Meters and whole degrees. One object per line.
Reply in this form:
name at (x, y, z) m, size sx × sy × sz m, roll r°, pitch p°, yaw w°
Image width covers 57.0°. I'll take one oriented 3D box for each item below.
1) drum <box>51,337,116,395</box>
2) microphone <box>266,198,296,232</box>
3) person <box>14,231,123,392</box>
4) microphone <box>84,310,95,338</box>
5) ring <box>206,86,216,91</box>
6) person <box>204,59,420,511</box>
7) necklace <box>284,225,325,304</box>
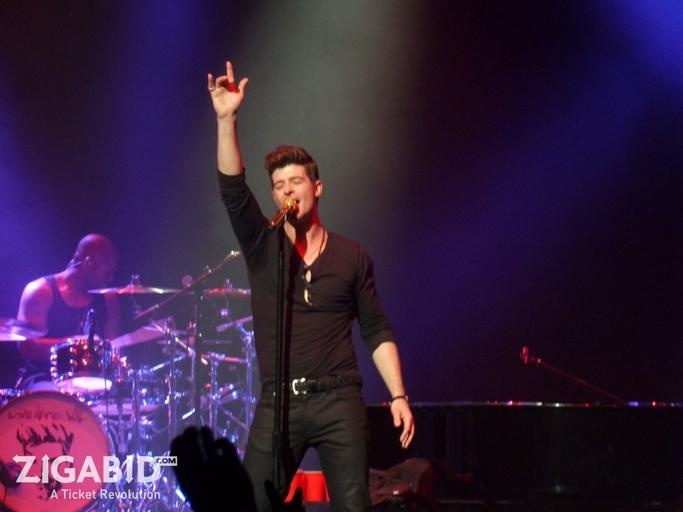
drum at (-2.407, 1.029, 5.909) m, size 0.484 × 0.420 × 0.562 m, roll -5°, pitch -10°, yaw 10°
microphone at (-0.364, -0.263, 3.956) m, size 0.118 × 0.257 × 0.252 m, roll -5°, pitch -15°, yaw 14°
person at (-2.867, 0.623, 6.509) m, size 0.783 × 1.888 × 0.892 m, roll -7°, pitch -18°, yaw 8°
microphone at (-2.445, 0.671, 6.089) m, size 0.050 × 0.262 × 0.159 m, roll -2°, pitch 8°, yaw -21°
ring at (-0.822, -1.057, 3.963) m, size 0.046 × 0.024 × 0.059 m, roll 0°, pitch -6°, yaw -6°
person at (-0.251, 0.108, 4.136) m, size 1.357 × 2.994 × 0.520 m, roll 5°, pitch -14°, yaw -26°
necklace at (-0.207, 0.077, 4.042) m, size 0.209 × 0.499 × 0.037 m, roll -11°, pitch 32°, yaw -23°
